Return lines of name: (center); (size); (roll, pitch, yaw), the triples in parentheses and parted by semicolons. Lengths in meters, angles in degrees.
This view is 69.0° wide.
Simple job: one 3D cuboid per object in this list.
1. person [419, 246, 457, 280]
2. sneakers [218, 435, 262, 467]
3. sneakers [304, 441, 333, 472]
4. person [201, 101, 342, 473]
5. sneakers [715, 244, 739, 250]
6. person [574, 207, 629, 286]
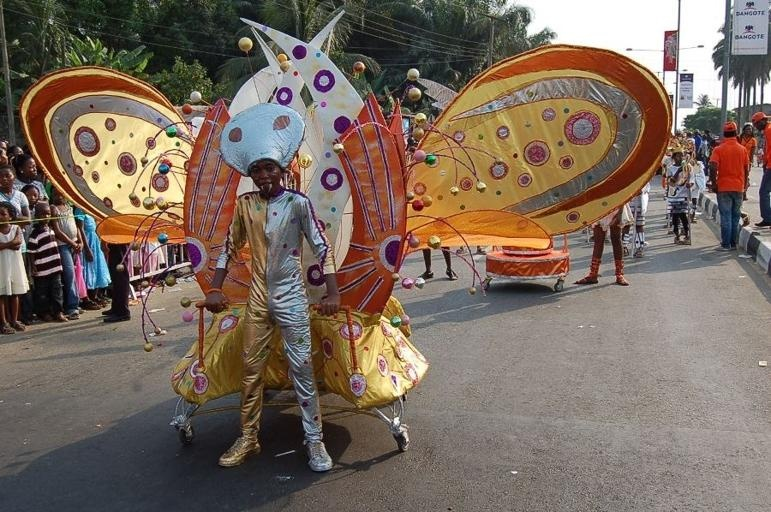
person: (0.956, 0.194, 10.592); (0.780, 0.772, 0.524); (-4, -28, 4)
sneakers: (-1.225, 1.574, 4.594); (0.148, 0.185, 0.412); (2, 8, 44)
sneakers: (-0.544, 1.590, 4.518); (0.130, 0.138, 0.301); (-2, 4, -27)
person: (-0.910, 0.252, 4.459); (1.063, 2.838, 0.760); (-2, 13, -2)
sneakers: (7.030, -0.156, 11.571); (0.338, 0.155, 0.141); (3, 13, 27)
person: (3.635, -0.091, 9.360); (0.853, 0.617, 2.288); (12, -24, 21)
